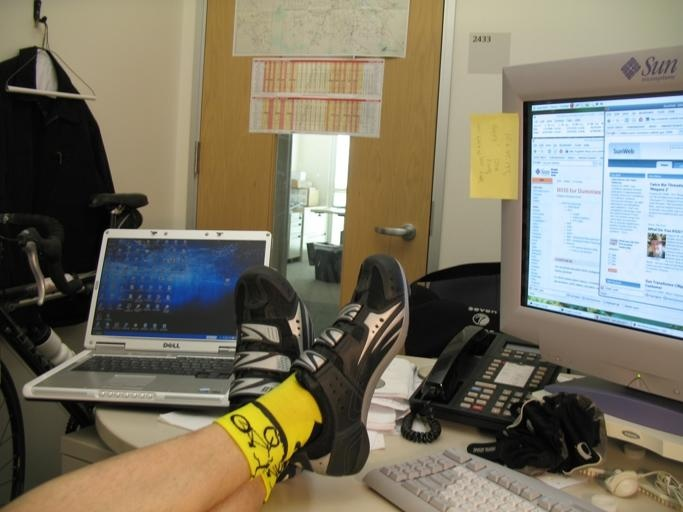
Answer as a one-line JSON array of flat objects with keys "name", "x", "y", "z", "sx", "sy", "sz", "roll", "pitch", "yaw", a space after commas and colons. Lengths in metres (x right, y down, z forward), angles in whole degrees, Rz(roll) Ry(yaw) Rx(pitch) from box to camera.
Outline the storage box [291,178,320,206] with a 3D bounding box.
[{"name": "storage box", "x": -0.166, "y": -0.291, "z": 2.477, "sx": 0.132, "sy": 0.116, "sz": 0.042, "roll": 1, "pitch": 10, "yaw": -2}]

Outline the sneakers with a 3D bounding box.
[{"name": "sneakers", "x": -0.019, "y": 0.189, "z": 0.971, "sx": 0.287, "sy": 0.384, "sz": 0.123, "roll": 1, "pitch": -20, "yaw": 31}]

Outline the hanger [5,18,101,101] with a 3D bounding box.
[{"name": "hanger", "x": -1.038, "y": -0.696, "z": 1.900, "sx": 0.039, "sy": 0.333, "sz": 0.376, "roll": -6, "pitch": -8, "yaw": 28}]

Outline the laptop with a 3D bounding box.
[{"name": "laptop", "x": -0.412, "y": 0.118, "z": 1.198, "sx": 0.461, "sy": 0.327, "sz": 0.409, "roll": 1, "pitch": 6, "yaw": 7}]

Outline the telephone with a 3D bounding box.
[{"name": "telephone", "x": 0.312, "y": 0.229, "z": 1.063, "sx": 0.326, "sy": 0.091, "sz": 0.262, "roll": -20, "pitch": 19, "yaw": -41}]
